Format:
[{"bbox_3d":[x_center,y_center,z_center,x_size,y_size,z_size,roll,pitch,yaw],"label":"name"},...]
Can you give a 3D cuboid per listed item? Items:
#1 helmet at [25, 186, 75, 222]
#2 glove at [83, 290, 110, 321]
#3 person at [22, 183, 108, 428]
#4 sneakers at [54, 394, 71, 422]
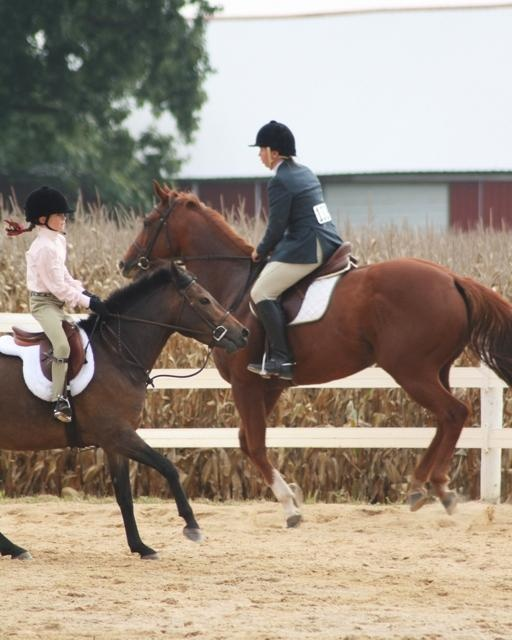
[{"bbox_3d":[-1.407,-0.776,9.460,0.274,0.224,0.211,-7,10,2],"label":"helmet"},{"bbox_3d":[-1.067,-0.082,9.477,0.080,0.119,0.301,-25,-38,9],"label":"glove"},{"bbox_3d":[-1.319,-0.104,9.422,0.410,1.573,0.609,-4,7,-26],"label":"person"},{"bbox_3d":[-1.279,0.605,9.242,0.104,0.179,0.073,-6,-3,0],"label":"sneakers"}]
